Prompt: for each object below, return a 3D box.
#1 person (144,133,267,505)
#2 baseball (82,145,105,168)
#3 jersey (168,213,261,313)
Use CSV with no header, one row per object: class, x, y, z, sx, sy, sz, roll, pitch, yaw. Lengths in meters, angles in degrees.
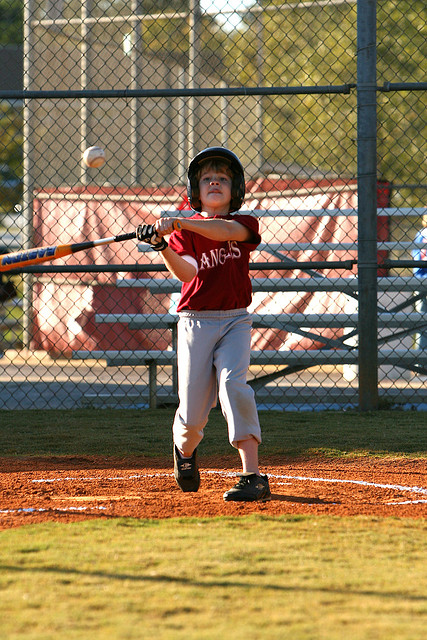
person,-0.005,-0.004,3.506,0.373,1.247,0.844,-1,3,3
baseball,-0.568,-0.741,4.405,0.102,0.092,0.094,-20,25,7
jersey,0.003,-0.206,3.411,0.323,0.342,0.197,-1,4,-3
